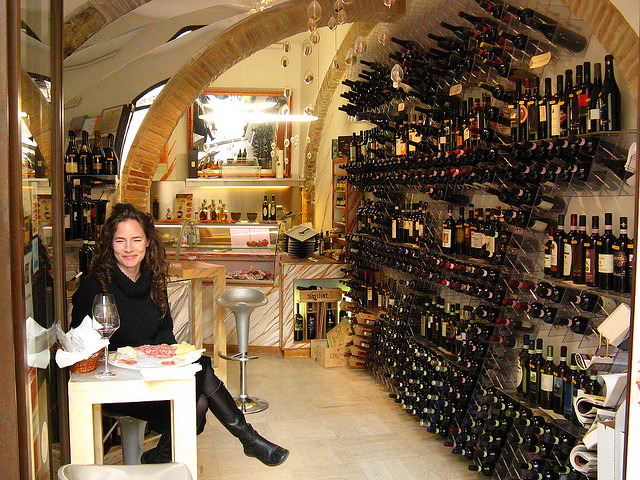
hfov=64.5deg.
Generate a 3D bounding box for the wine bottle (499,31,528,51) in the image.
[{"bbox_3d":[1.455,-1.495,3.815,0.080,0.178,0.245,-2,7,-19],"label":"wine bottle"}]

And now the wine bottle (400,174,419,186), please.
[{"bbox_3d":[0.883,-0.593,4.985,0.085,0.092,0.316,-1,7,-13],"label":"wine bottle"}]

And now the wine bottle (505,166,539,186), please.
[{"bbox_3d":[1.425,-0.453,3.606,0.069,0.136,0.261,-3,8,-31],"label":"wine bottle"}]

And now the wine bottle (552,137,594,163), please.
[{"bbox_3d":[1.596,-0.568,3.183,0.283,0.090,0.078,23,5,-27],"label":"wine bottle"}]

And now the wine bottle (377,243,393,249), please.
[{"bbox_3d":[0.701,0.074,5.484,0.063,0.074,0.283,-1,7,-17],"label":"wine bottle"}]

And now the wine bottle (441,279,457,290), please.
[{"bbox_3d":[1.110,0.370,4.377,0.058,0.090,0.231,-1,7,-13],"label":"wine bottle"}]

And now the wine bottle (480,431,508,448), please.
[{"bbox_3d":[1.299,1.476,3.765,0.147,0.058,0.057,8,26,-9],"label":"wine bottle"}]

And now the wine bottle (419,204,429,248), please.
[{"bbox_3d":[1.025,-0.179,4.994,0.066,0.331,0.121,-4,8,-39],"label":"wine bottle"}]

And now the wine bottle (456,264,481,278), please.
[{"bbox_3d":[1.207,0.247,4.115,0.053,0.112,0.284,-1,7,-17],"label":"wine bottle"}]

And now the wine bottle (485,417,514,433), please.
[{"bbox_3d":[1.323,1.352,3.752,0.191,0.109,0.040,5,7,34],"label":"wine bottle"}]

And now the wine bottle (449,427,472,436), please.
[{"bbox_3d":[1.143,1.541,4.100,0.262,0.075,0.071,10,-19,-19],"label":"wine bottle"}]

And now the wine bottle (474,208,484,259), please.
[{"bbox_3d":[1.299,-0.047,4.118,0.069,0.409,0.103,-2,6,-22],"label":"wine bottle"}]

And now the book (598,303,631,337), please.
[{"bbox_3d":[1.500,0.404,2.630,0.162,0.151,0.038,-41,56,-20],"label":"book"}]

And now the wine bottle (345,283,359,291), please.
[{"bbox_3d":[0.390,0.560,6.325,0.042,0.087,0.309,-2,7,-23],"label":"wine bottle"}]

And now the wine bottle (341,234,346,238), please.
[{"bbox_3d":[0.310,-0.050,6.956,0.033,0.039,0.093,-1,7,-15],"label":"wine bottle"}]

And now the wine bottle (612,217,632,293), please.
[{"bbox_3d":[1.742,0.085,2.929,0.093,0.420,0.168,4,7,30],"label":"wine bottle"}]

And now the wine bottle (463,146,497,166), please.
[{"bbox_3d":[1.277,-0.649,3.962,0.145,0.150,0.343,-1,7,-16],"label":"wine bottle"}]

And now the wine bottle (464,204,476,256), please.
[{"bbox_3d":[1.259,-0.057,4.257,0.068,0.385,0.142,1,6,-1],"label":"wine bottle"}]

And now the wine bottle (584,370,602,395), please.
[{"bbox_3d":[1.683,0.873,3.116,0.083,0.137,0.126,6,8,41],"label":"wine bottle"}]

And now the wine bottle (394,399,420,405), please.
[{"bbox_3d":[0.837,1.536,4.823,0.181,0.052,0.050,5,29,-26],"label":"wine bottle"}]

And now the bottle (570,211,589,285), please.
[{"bbox_3d":[1.633,0.056,3.202,0.086,0.424,0.181,4,7,28],"label":"bottle"}]

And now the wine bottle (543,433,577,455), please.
[{"bbox_3d":[1.502,1.262,3.156,0.234,0.082,0.081,13,20,-32],"label":"wine bottle"}]

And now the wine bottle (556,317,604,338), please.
[{"bbox_3d":[1.665,0.553,3.232,0.213,0.083,0.081,6,18,-25],"label":"wine bottle"}]

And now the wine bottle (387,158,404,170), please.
[{"bbox_3d":[0.782,-0.774,5.269,0.081,0.097,0.406,0,7,-10],"label":"wine bottle"}]

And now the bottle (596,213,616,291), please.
[{"bbox_3d":[1.700,0.066,3.024,0.095,0.441,0.165,4,7,28],"label":"bottle"}]

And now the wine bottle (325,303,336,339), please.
[{"bbox_3d":[0.138,1.066,6.689,0.115,0.281,0.093,3,6,18],"label":"wine bottle"}]

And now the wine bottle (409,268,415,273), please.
[{"bbox_3d":[0.900,0.300,4.971,0.019,0.051,0.084,-2,7,-21],"label":"wine bottle"}]

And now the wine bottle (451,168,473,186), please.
[{"bbox_3d":[1.191,-0.523,4.190,0.104,0.134,0.315,0,7,-9],"label":"wine bottle"}]

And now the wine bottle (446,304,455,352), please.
[{"bbox_3d":[1.147,0.771,4.459,0.064,0.416,0.111,-1,6,-14],"label":"wine bottle"}]

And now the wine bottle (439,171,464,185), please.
[{"bbox_3d":[1.133,-0.550,4.392,0.204,0.057,0.053,35,-2,29],"label":"wine bottle"}]

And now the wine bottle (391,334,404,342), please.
[{"bbox_3d":[0.792,0.994,5.215,0.017,0.082,0.180,-4,8,-38],"label":"wine bottle"}]

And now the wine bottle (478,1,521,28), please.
[{"bbox_3d":[1.391,-1.723,3.898,0.407,0.113,0.105,16,22,-34],"label":"wine bottle"}]

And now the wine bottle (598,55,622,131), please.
[{"bbox_3d":[1.745,-0.862,3.058,0.074,0.458,0.153,4,5,14],"label":"wine bottle"}]

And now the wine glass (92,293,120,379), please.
[{"bbox_3d":[-1.095,0.470,2.602,0.117,0.417,0.262,-1,6,-18],"label":"wine glass"}]
